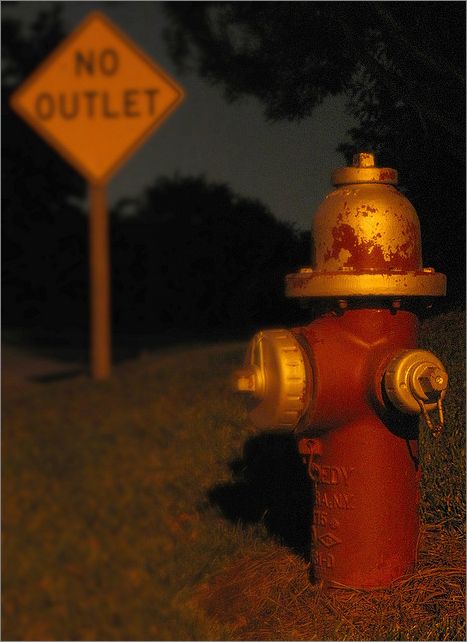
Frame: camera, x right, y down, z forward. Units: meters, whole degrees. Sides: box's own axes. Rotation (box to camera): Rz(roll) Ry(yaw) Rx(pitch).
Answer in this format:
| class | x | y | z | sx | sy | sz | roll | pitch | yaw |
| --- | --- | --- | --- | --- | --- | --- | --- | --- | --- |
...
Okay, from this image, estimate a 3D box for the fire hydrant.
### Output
| class | x | y | z | sx | sy | sz | roll | pitch | yaw |
| --- | --- | --- | --- | --- | --- | --- | --- | --- | --- |
| fire hydrant | 0.372 | 0.164 | 2.353 | 0.669 | 1.489 | 0.377 | 2 | 3 | 12 |
